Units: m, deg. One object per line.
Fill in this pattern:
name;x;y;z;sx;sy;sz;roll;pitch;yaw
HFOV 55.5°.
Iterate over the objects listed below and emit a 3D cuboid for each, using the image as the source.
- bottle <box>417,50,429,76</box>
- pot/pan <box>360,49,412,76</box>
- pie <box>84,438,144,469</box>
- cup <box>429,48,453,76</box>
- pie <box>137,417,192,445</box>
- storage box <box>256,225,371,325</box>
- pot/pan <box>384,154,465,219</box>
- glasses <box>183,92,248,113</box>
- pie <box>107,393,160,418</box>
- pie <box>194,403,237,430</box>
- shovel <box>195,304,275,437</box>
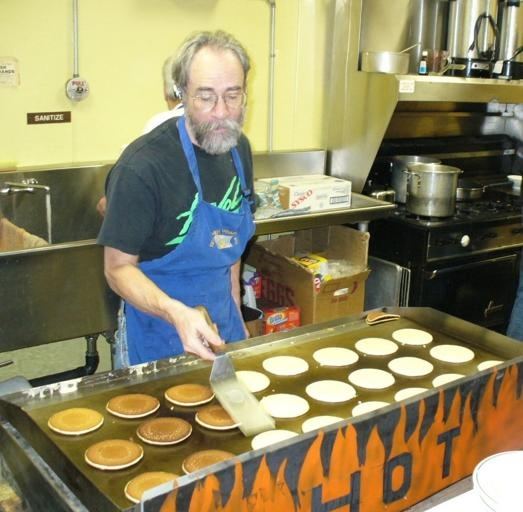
bottle;0.952;-1.130;2.911;0.049;0.143;0.113;0;13;19
pot/pan;0.703;-1.104;2.892;0.260;0.088;0.239;-7;20;-24
pie;-0.291;0.391;0.983;0.105;0.020;0.106;-6;12;-14
cup;1.020;-1.150;2.957;0.154;0.148;0.159;3;15;-1
pie;-0.208;0.379;1.074;0.112;0.021;0.097;-5;12;-12
storage box;0.281;0.084;2.857;0.502;0.477;0.669;-10;13;-28
pot/pan;0.954;-0.426;2.857;0.489;0.282;0.330;-14;26;-30
glasses;-0.121;-0.420;1.358;0.139;0.057;0.049;-6;12;-16
pie;-0.296;0.345;1.145;0.116;0.025;0.090;-6;12;-17
pie;-0.108;0.369;1.128;0.083;0.025;0.100;-7;12;-20
shovel;-0.066;0.250;1.218;0.114;0.168;0.362;-10;37;-37
